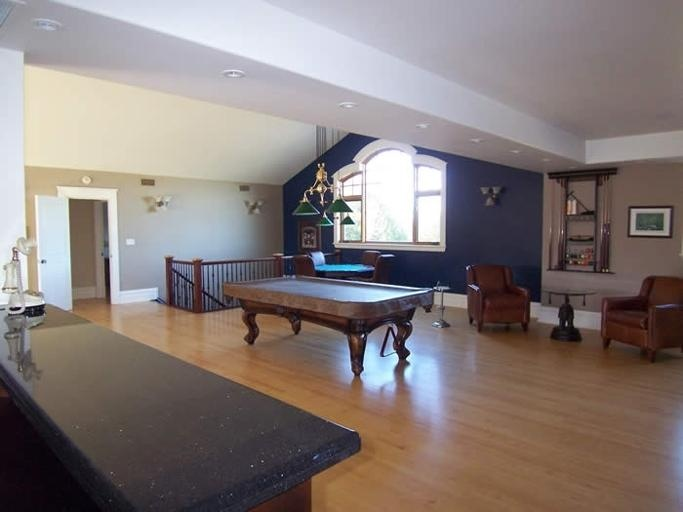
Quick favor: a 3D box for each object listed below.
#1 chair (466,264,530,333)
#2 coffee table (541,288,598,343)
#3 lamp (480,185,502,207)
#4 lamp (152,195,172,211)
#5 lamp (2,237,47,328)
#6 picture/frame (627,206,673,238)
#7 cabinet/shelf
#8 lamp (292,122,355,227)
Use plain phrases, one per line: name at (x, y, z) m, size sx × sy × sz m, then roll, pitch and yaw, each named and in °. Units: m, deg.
chair at (2.375, 0.632, 7.512) m, size 0.810 × 1.018 × 1.059 m, roll 0°, pitch -1°, yaw 11°
coffee table at (3.125, 0.816, 6.791) m, size 0.571 × 0.668 × 0.624 m, roll 2°, pitch -4°, yaw 39°
lamp at (2.605, -1.050, 8.543) m, size 0.126 × 0.364 × 0.431 m, roll 0°, pitch 7°, yaw -43°
lamp at (-3.702, -1.095, 10.142) m, size 0.146 × 0.321 × 0.433 m, roll 10°, pitch 6°, yaw 39°
lamp at (-2.125, 0.126, 3.278) m, size 0.253 × 0.546 × 0.429 m, roll 2°, pitch 6°, yaw -32°
picture/frame at (4.330, -0.481, 6.801) m, size 0.042 × 0.389 × 0.409 m, roll 5°, pitch -1°, yaw -43°
cabinet/shelf at (3.609, -0.545, 7.406) m, size 0.990 × 1.101 × 0.277 m, roll 9°, pitch 6°, yaw 31°
lamp at (-0.350, -1.570, 10.217) m, size 1.745 × 2.097 × 1.654 m, roll -1°, pitch -2°, yaw 0°
